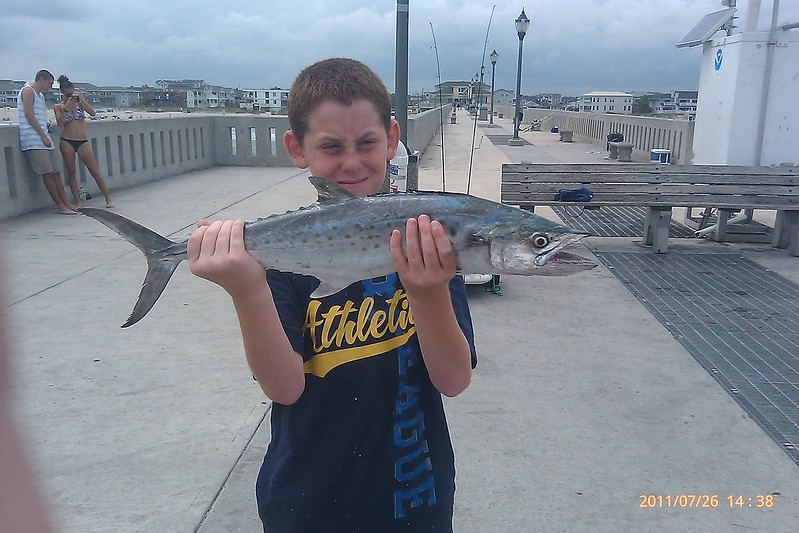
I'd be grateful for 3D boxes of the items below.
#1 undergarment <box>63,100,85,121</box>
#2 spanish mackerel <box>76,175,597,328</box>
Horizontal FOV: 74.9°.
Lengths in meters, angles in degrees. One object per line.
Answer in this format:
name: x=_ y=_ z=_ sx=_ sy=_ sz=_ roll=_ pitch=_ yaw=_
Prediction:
undergarment: x=-5.986 y=-2.856 z=9.564 sx=0.263 sy=0.409 sz=0.392 roll=14 pitch=24 yaw=20
spanish mackerel: x=-0.215 y=-0.059 z=1.935 sx=1.755 sy=0.536 sz=0.313 roll=1 pitch=18 yaw=12
